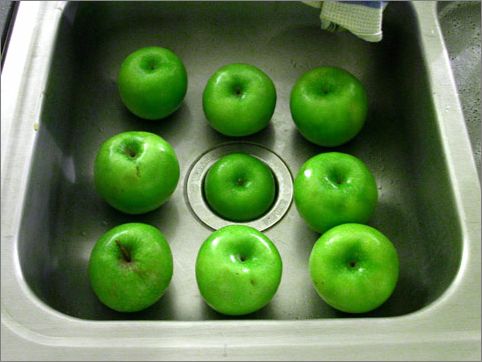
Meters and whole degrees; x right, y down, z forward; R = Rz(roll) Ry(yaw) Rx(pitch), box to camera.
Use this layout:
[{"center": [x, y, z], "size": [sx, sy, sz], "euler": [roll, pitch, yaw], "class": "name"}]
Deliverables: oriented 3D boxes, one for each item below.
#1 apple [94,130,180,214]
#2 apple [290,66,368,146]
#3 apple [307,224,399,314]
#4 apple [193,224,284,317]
[{"center": [-0.202, 0.006, 0.949], "size": [0.144, 0.117, 0.155], "euler": [-1, 74, 0], "class": "apple"}, {"center": [0.182, -0.151, 1.076], "size": [0.139, 0.145, 0.159], "euler": [-4, 73, 0], "class": "apple"}, {"center": [0.195, 0.148, 0.909], "size": [0.137, 0.138, 0.149], "euler": [-28, 74, 3], "class": "apple"}, {"center": [-0.010, 0.150, 0.853], "size": [0.133, 0.142, 0.151], "euler": [-5, 43, -9], "class": "apple"}]
